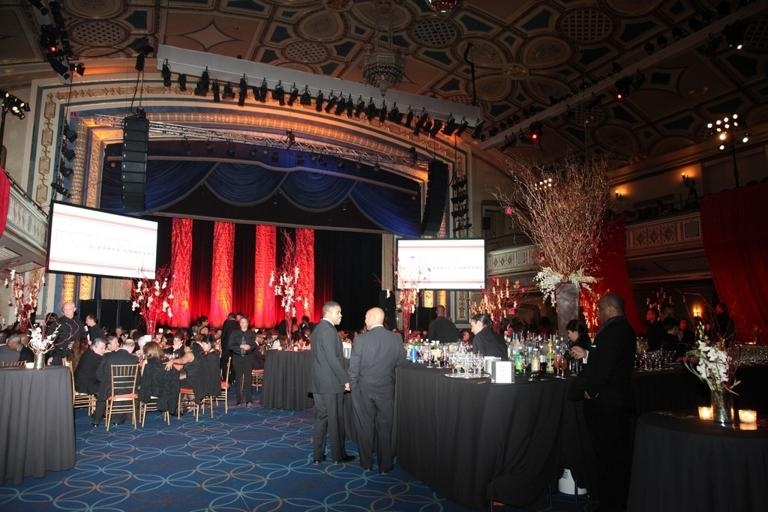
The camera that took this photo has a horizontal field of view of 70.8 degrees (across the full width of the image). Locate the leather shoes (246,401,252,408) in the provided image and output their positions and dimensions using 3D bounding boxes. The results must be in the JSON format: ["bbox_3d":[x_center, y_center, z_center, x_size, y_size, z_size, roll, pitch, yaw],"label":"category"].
[{"bbox_3d":[-2.859,3.128,11.380,0.112,0.154,0.083,8,-14,-42],"label":"leather shoes"}]

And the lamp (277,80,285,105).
[{"bbox_3d":[-2.691,-4.248,13.824,0.210,0.513,0.618,0,-12,-5],"label":"lamp"}]

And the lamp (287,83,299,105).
[{"bbox_3d":[-2.390,-4.242,14.227,0.296,0.471,0.110,20,19,-10],"label":"lamp"}]

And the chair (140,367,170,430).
[{"bbox_3d":[-4.280,2.562,10.076,0.542,1.100,0.747,3,-12,-22],"label":"chair"}]

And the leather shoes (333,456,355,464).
[{"bbox_3d":[-0.585,2.992,7.977,0.310,0.133,0.101,0,0,-24],"label":"leather shoes"}]

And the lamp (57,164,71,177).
[{"bbox_3d":[-8.666,-2.307,14.561,0.323,0.328,0.080,32,-45,-1],"label":"lamp"}]

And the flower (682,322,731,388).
[{"bbox_3d":[3.575,1.083,5.922,0.399,0.741,0.443,-9,-14,32],"label":"flower"}]

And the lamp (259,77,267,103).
[{"bbox_3d":[-3.059,-4.280,13.686,0.207,0.585,0.621,1,-12,-13],"label":"lamp"}]

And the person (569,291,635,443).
[{"bbox_3d":[2.741,1.318,6.653,0.753,1.691,0.353,-4,-12,15],"label":"person"}]

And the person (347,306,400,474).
[{"bbox_3d":[-0.099,1.904,7.726,0.790,2.262,0.398,-1,-11,-2],"label":"person"}]

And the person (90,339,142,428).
[{"bbox_3d":[-4.863,2.271,9.753,0.757,1.513,0.479,1,-11,-10],"label":"person"}]

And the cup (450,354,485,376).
[{"bbox_3d":[1.113,1.441,7.207,0.334,0.228,0.340,2,-9,0],"label":"cup"}]

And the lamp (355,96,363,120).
[{"bbox_3d":[-0.658,-3.914,14.364,0.301,0.505,0.119,9,9,4],"label":"lamp"}]

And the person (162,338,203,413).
[{"bbox_3d":[-3.868,2.226,10.307,0.746,1.406,0.539,7,3,11],"label":"person"}]

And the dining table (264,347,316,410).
[{"bbox_3d":[-1.855,2.501,11.468,1.376,1.333,1.379,2,-12,-5],"label":"dining table"}]

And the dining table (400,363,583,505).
[{"bbox_3d":[1.197,2.277,6.919,1.636,1.026,1.661,2,-5,-3],"label":"dining table"}]

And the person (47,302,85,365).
[{"bbox_3d":[-6.197,1.600,10.631,0.572,1.450,0.388,-8,29,-21],"label":"person"}]

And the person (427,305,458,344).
[{"bbox_3d":[1.198,1.397,11.112,0.583,0.764,0.606,-2,-12,3],"label":"person"}]

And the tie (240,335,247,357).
[{"bbox_3d":[-2.967,1.889,11.398,0.158,0.409,0.147,1,-11,-11],"label":"tie"}]

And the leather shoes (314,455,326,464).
[{"bbox_3d":[-0.943,2.955,7.894,0.167,0.116,0.089,-2,6,-45],"label":"leather shoes"}]
